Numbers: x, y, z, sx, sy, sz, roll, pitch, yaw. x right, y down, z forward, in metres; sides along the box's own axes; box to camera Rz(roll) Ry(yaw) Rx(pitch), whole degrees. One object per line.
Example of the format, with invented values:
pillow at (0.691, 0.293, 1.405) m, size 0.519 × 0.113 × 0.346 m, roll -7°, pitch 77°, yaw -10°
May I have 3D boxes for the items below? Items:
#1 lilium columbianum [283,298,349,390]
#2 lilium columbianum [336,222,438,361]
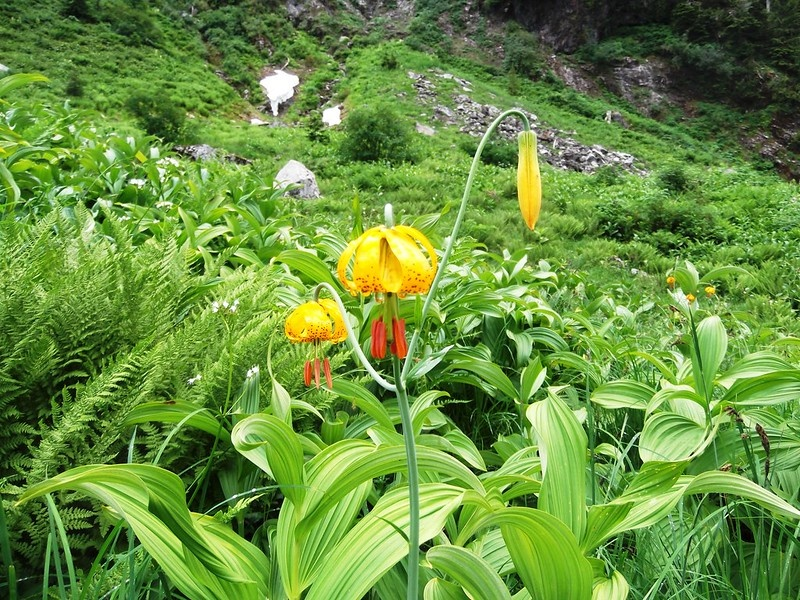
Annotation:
lilium columbianum at (-0.313, 0.166, 2.317) m, size 0.217 × 0.342 × 0.220 m, roll -3°, pitch -7°, yaw 29°
lilium columbianum at (-0.047, -0.019, 2.061) m, size 0.309 × 0.449 × 0.310 m, roll -5°, pitch 5°, yaw -23°
